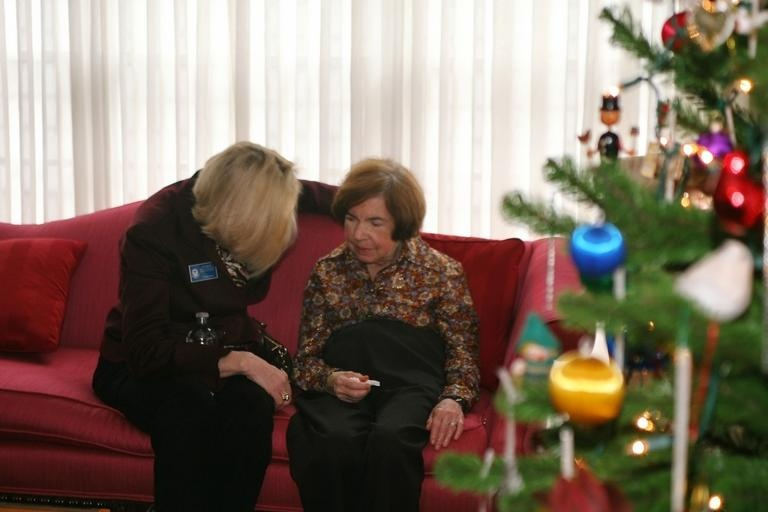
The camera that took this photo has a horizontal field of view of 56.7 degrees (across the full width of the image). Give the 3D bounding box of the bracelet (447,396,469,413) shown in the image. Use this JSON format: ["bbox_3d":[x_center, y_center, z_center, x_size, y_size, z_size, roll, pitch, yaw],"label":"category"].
[{"bbox_3d":[0.236,0.469,2.254,0.042,0.058,0.057,-17,30,3],"label":"bracelet"}]

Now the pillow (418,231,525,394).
[{"bbox_3d":[0.338,0.182,2.429,0.451,0.476,0.189,2,-4,10],"label":"pillow"}]

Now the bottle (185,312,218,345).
[{"bbox_3d":[-0.590,0.230,2.289,0.095,0.102,0.145,3,-3,-9],"label":"bottle"}]

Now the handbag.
[{"bbox_3d":[-0.518,0.303,2.355,0.268,0.308,0.129,-5,5,-7],"label":"handbag"}]

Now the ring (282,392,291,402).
[{"bbox_3d":[-0.315,0.455,2.284,0.025,0.024,0.021,-2,3,7],"label":"ring"}]
